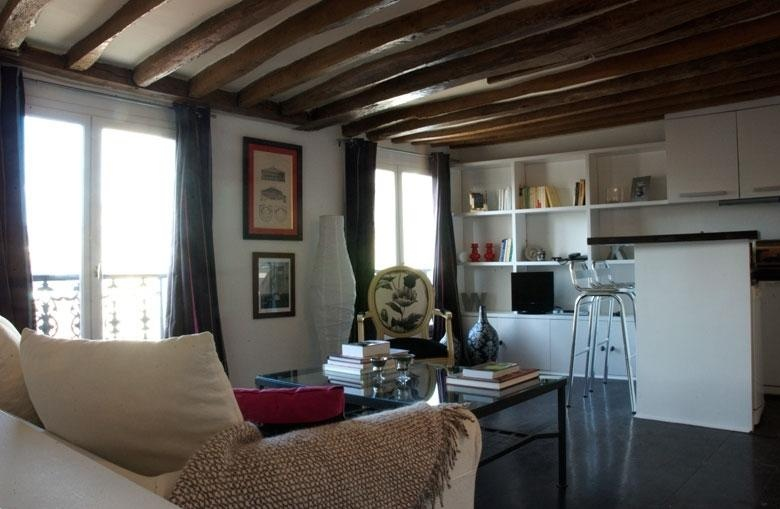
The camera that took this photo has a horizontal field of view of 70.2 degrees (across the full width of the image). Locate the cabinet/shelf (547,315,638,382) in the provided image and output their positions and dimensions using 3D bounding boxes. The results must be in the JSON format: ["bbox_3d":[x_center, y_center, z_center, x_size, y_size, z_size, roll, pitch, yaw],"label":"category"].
[{"bbox_3d":[2.207,0.991,5.939,0.922,0.646,0.322,-1,-4,26],"label":"cabinet/shelf"}]

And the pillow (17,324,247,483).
[{"bbox_3d":[-1.027,0.588,2.141,0.794,0.553,0.278,-4,-3,21],"label":"pillow"}]

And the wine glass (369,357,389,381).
[{"bbox_3d":[-0.055,0.782,3.842,0.138,0.151,0.143,3,3,25],"label":"wine glass"}]

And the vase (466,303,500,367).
[{"bbox_3d":[1.111,0.952,6.671,0.592,0.675,0.574,-1,9,3],"label":"vase"}]

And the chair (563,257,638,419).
[{"bbox_3d":[2.189,0.899,5.723,0.608,1.275,1.420,-2,-2,26],"label":"chair"}]

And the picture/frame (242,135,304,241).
[{"bbox_3d":[-1.179,-0.651,5.565,0.721,1.026,0.107,-7,7,-43],"label":"picture/frame"}]

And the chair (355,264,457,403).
[{"bbox_3d":[0.192,0.623,5.655,1.040,1.454,1.010,0,-7,-4],"label":"chair"}]

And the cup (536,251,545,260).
[{"bbox_3d":[1.914,0.001,6.991,0.114,0.116,0.112,0,-1,0],"label":"cup"}]

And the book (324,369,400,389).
[{"bbox_3d":[-0.171,0.834,3.729,0.337,0.065,0.338,-2,-2,36],"label":"book"}]

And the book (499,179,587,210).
[{"bbox_3d":[1.881,-0.748,6.907,1.061,0.330,0.377,-1,5,17],"label":"book"}]

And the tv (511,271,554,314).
[{"bbox_3d":[1.745,0.461,6.735,0.515,0.486,0.169,-1,-6,9],"label":"tv"}]

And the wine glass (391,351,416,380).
[{"bbox_3d":[0.118,0.765,3.856,0.173,0.185,0.167,-1,6,-20],"label":"wine glass"}]

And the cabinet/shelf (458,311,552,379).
[{"bbox_3d":[1.283,0.957,5.976,0.731,0.643,0.234,-2,-3,33],"label":"cabinet/shelf"}]

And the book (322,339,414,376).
[{"bbox_3d":[-0.151,0.781,4.224,0.439,0.101,0.450,-1,1,39],"label":"book"}]
